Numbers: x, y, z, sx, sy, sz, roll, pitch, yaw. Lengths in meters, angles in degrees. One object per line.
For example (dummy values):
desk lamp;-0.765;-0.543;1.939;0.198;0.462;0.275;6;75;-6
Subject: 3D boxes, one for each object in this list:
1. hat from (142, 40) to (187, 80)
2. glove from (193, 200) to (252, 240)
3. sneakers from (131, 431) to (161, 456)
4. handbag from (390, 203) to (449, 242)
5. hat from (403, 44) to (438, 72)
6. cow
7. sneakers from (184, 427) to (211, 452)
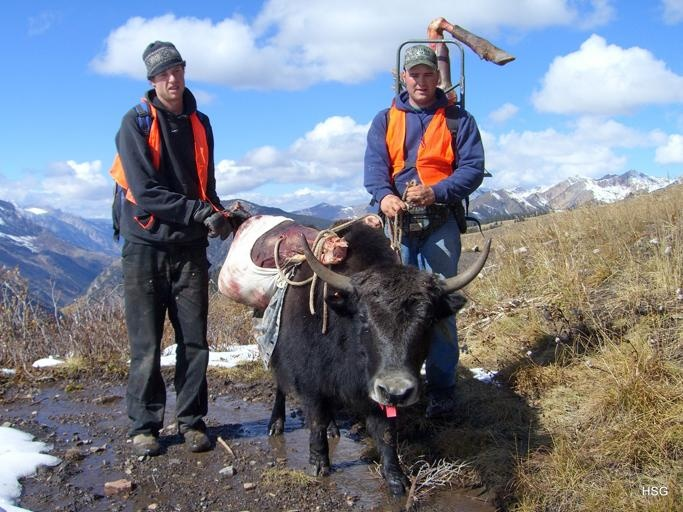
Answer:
hat;-1.828;-2.047;5.359;0.404;0.327;0.420;-15;23;-8
glove;-1.277;-0.417;5.570;0.336;0.210;0.444;35;-5;-31
sneakers;-1.986;1.904;5.327;0.277;0.172;0.259;-2;7;-22
handbag;0.862;-0.369;5.554;0.355;0.526;0.236;1;27;-12
hat;0.814;-2.034;5.405;0.345;0.248;0.181;2;6;10
cow;0.152;0.918;4.859;1.116;2.375;1.951;-5;8;-40
sneakers;-1.493;1.911;5.453;0.276;0.169;0.257;-2;7;-20
